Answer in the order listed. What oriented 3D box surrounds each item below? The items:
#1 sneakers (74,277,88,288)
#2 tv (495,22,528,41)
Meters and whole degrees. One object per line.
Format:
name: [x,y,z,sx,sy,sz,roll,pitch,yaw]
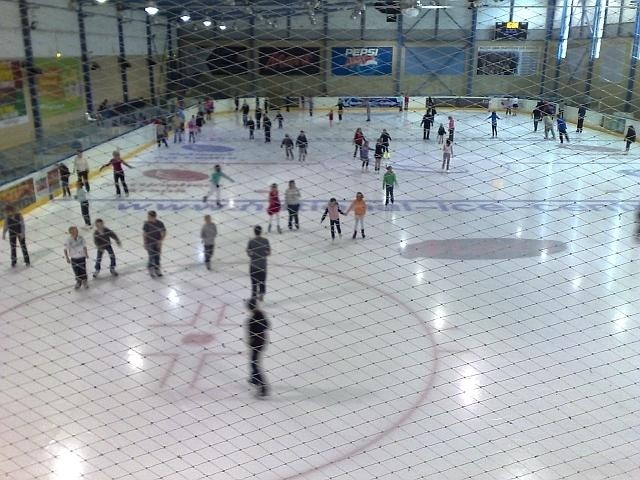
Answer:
sneakers: [-4.346,0.763,11.176,0.393,0.187,0.233,0,15,-16]
tv: [9.425,-10.286,30.042,1.444,0.887,1.549,-2,19,-8]
